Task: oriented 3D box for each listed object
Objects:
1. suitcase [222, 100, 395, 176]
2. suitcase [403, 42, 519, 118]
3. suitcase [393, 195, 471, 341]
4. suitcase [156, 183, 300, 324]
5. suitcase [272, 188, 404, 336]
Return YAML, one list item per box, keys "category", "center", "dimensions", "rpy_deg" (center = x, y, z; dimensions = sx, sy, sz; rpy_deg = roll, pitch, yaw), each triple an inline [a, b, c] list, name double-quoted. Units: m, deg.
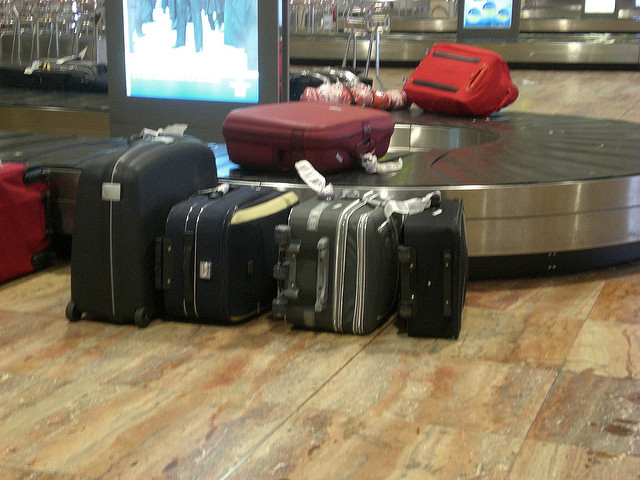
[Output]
- category: "suitcase"
  center: [-0.038, -0.495, 2.822]
  dimensions: [0.794, 0.303, 0.899]
  rpy_deg: [3, 17, 8]
- category: "suitcase"
  center: [1.058, -1.365, 4.506]
  dimensions: [0.426, 0.621, 0.300]
  rpy_deg: [16, -23, 11]
- category: "suitcase"
  center: [0.411, 0.064, 2.083]
  dimensions: [0.236, 0.432, 0.441]
  rpy_deg: [-1, 21, 10]
- category: "suitcase"
  center: [-0.331, 0.046, 2.205]
  dimensions: [0.322, 0.498, 0.594]
  rpy_deg: [6, 12, 23]
- category: "suitcase"
  center: [0.070, 0.082, 2.022]
  dimensions: [0.446, 0.468, 0.305]
  rpy_deg: [-1, 14, 7]
